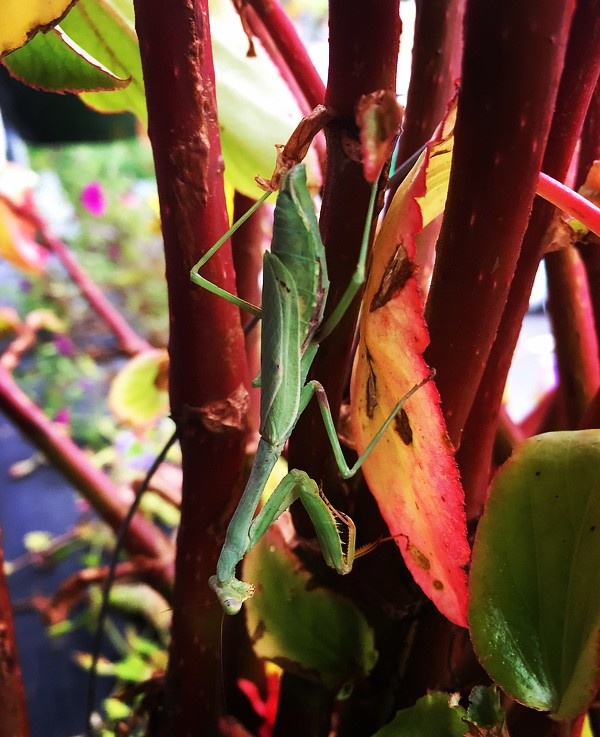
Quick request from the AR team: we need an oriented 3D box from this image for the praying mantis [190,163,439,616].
[{"bbox_3d":[-0.006,0.020,0.365,0.091,0.218,0.104,4,16,-9],"label":"praying mantis"}]
